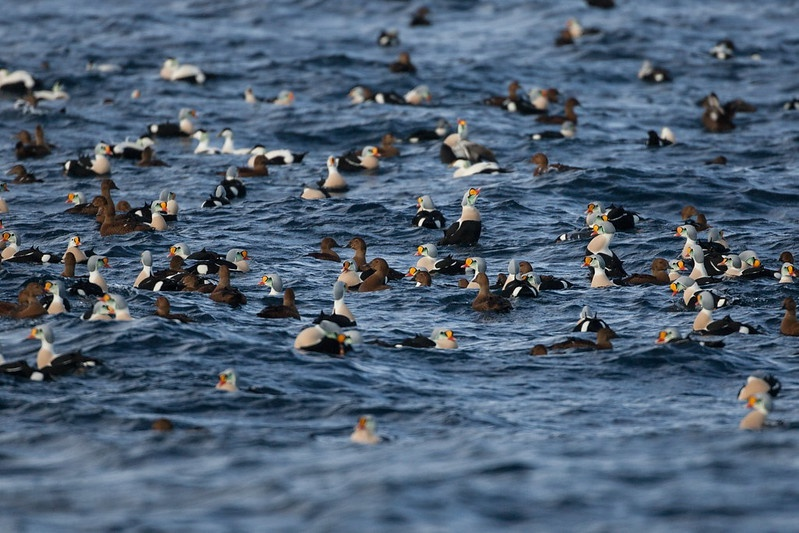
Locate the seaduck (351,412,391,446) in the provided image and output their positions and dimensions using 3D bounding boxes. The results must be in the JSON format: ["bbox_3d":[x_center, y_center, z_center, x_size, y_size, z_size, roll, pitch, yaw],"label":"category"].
[{"bbox_3d":[-0.580,2.967,17.222,0.847,0.477,0.504,7,3,5],"label":"seaduck"}]

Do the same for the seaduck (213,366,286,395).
[{"bbox_3d":[-3.050,2.271,18.826,1.614,0.479,0.488,6,0,-7],"label":"seaduck"}]
